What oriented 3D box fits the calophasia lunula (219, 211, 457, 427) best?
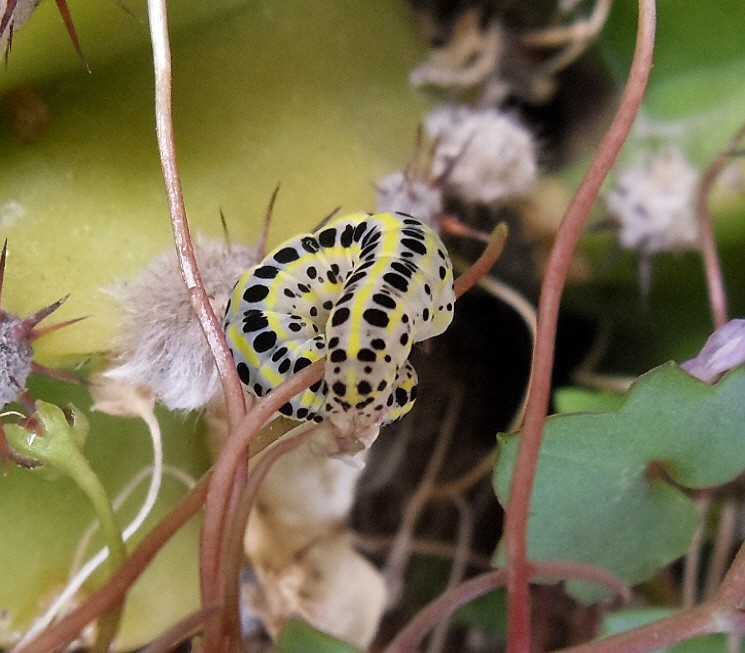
[{"bbox_3d":[-0.030,-0.010,0.778,0.180,0.089,0.230,-1,39,5],"label":"calophasia lunula"}]
